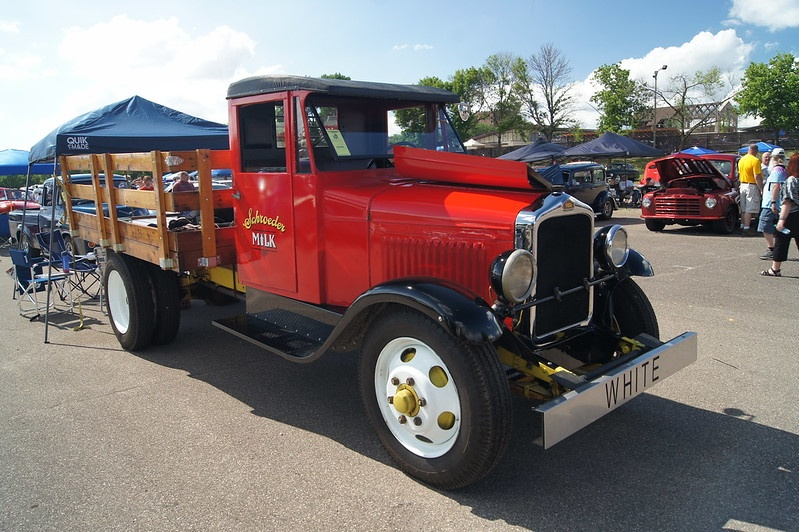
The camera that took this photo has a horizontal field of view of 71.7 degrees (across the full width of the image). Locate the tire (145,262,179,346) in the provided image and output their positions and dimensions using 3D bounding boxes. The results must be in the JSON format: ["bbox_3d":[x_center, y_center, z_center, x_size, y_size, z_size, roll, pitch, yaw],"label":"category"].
[{"bbox_3d":[-3.206,0.542,7.514,0.367,1.163,1.132,0,3,-22],"label":"tire"}]

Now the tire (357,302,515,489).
[{"bbox_3d":[0.331,1.072,4.574,1.431,1.560,0.538,-2,6,41],"label":"tire"}]

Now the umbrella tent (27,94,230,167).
[{"bbox_3d":[-4.948,-2.742,10.681,3.437,1.119,3.495,-12,18,-41],"label":"umbrella tent"}]

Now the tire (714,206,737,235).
[{"bbox_3d":[8.360,-1.171,14.142,0.668,0.691,0.217,7,-6,-35],"label":"tire"}]

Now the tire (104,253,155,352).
[{"bbox_3d":[-3.430,0.448,7.047,1.008,1.134,0.348,17,13,41],"label":"tire"}]

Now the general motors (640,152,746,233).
[{"bbox_3d":[8.071,-2.006,14.899,1.680,1.652,2.961,2,6,43],"label":"general motors"}]

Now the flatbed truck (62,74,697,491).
[{"bbox_3d":[-0.910,-0.401,6.575,7.318,3.282,3.123,11,16,42],"label":"flatbed truck"}]
